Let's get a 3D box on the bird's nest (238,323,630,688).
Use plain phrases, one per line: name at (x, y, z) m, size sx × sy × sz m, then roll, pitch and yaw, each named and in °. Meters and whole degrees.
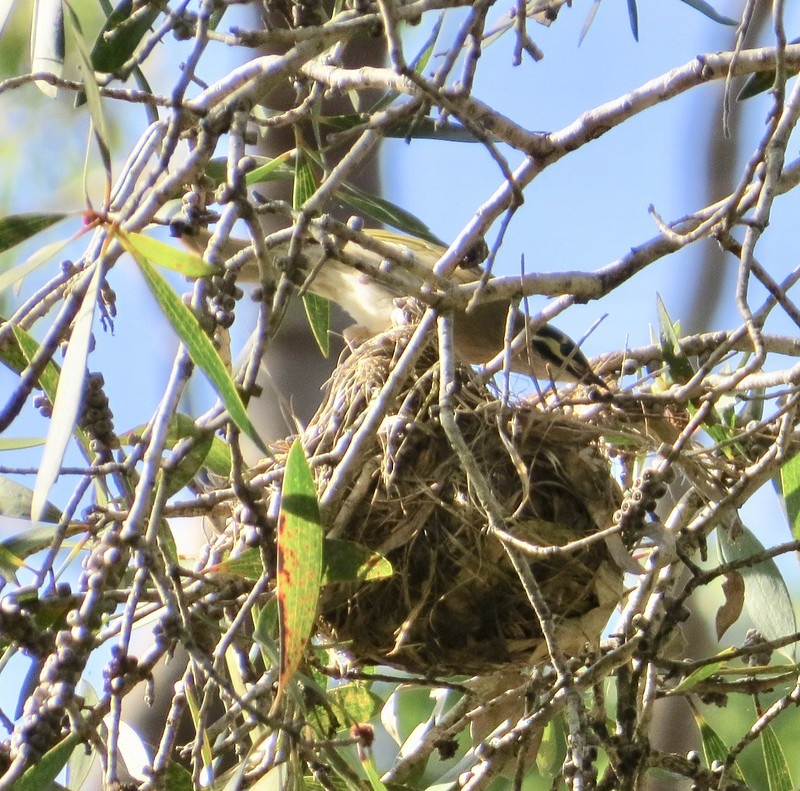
bird's nest at (0.089, 0.195, 2.217) m, size 0.374 × 0.489 × 0.341 m, roll 5°, pitch -54°, yaw 0°
